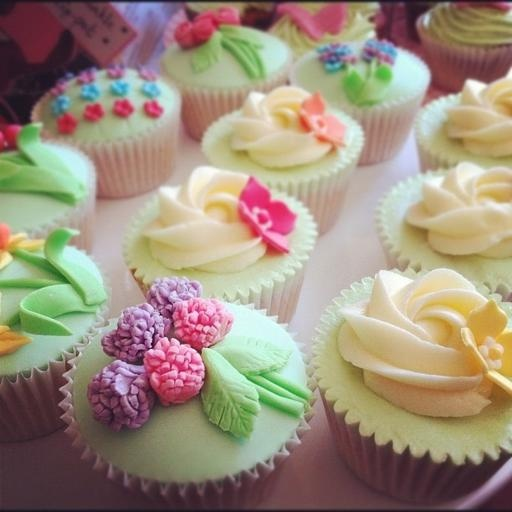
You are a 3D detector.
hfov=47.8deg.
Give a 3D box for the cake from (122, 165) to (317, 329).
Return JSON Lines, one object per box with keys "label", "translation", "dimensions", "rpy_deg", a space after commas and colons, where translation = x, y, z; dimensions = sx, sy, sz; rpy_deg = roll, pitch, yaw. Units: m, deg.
{"label": "cake", "translation": [-0.176, -0.121, 2.395], "dimensions": [0.642, 0.518, 0.686], "rpy_deg": [-17, 58, -21]}
